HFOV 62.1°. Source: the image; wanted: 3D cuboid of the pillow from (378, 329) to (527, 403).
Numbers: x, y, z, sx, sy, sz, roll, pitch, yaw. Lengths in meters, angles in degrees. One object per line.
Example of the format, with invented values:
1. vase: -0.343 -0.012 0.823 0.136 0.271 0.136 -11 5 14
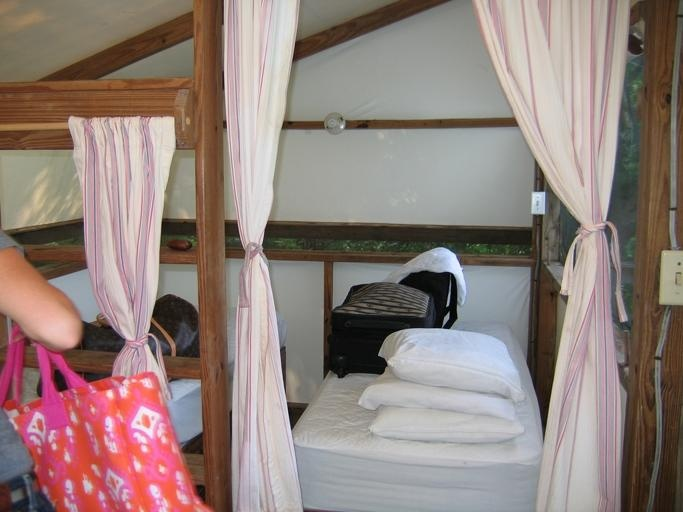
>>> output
1. pillow: 0.507 0.481 2.601 0.369 0.132 0.410 2 6 3

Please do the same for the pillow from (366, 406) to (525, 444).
1. pillow: 0.443 0.724 2.429 0.401 0.095 0.259 -2 0 10

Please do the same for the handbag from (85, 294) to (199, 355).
1. handbag: -0.912 0.287 2.902 0.508 0.207 0.480 0 -1 13

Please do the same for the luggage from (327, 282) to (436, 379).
1. luggage: 0.196 0.382 3.226 0.463 0.331 0.496 0 11 7

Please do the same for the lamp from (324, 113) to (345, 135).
1. lamp: -0.051 -1.033 4.450 0.170 0.157 0.124 -1 2 0
